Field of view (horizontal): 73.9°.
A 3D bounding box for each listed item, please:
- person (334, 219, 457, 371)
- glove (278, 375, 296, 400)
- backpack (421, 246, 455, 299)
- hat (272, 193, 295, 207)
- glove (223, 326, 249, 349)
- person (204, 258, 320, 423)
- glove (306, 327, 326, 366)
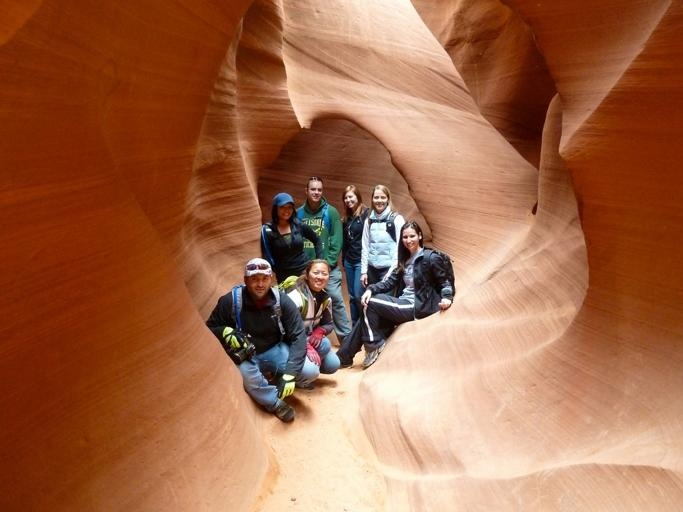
[{"bbox_3d":[0.551,0.354,4.235,1.001,1.449,0.763,5,2,-9],"label":"person"},{"bbox_3d":[-0.377,0.901,3.213,0.139,0.206,0.052,-7,-3,13],"label":"glove"},{"bbox_3d":[0.949,0.181,4.353,0.280,0.548,0.376,-5,18,10],"label":"backpack"},{"bbox_3d":[-0.561,-0.552,4.212,0.137,0.109,0.194,-3,-6,-24],"label":"hat"},{"bbox_3d":[-0.725,0.569,3.112,0.173,0.111,0.068,38,-6,2],"label":"glove"},{"bbox_3d":[-0.567,0.574,3.136,0.648,1.154,0.419,-6,19,-19],"label":"person"},{"bbox_3d":[-0.199,0.712,3.589,0.064,0.271,0.145,-8,-11,34],"label":"glove"}]
